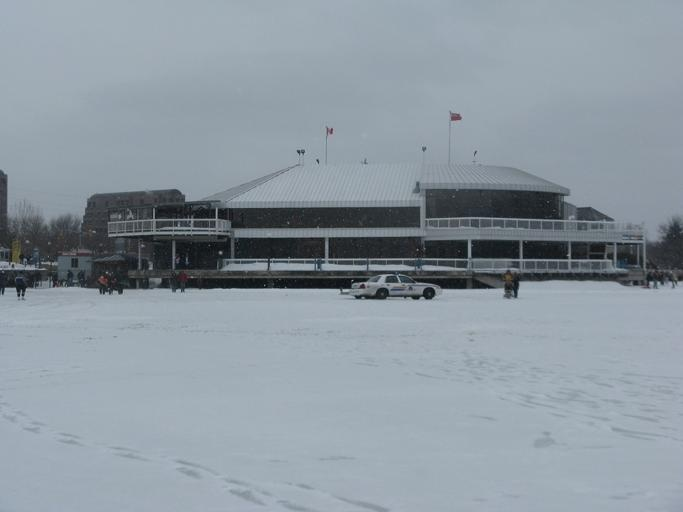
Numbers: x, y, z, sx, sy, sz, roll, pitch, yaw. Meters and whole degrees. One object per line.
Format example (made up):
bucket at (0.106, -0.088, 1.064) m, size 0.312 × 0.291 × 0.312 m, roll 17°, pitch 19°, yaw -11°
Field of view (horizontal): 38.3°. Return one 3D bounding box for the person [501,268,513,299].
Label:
person at (7.532, 1.309, 44.268) m, size 0.382 × 1.224 × 1.324 m, roll 2°, pitch 12°, yaw 10°

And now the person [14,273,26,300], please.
person at (-14.741, 1.463, 45.006) m, size 0.379 × 1.173 × 1.889 m, roll -4°, pitch 13°, yaw -18°
